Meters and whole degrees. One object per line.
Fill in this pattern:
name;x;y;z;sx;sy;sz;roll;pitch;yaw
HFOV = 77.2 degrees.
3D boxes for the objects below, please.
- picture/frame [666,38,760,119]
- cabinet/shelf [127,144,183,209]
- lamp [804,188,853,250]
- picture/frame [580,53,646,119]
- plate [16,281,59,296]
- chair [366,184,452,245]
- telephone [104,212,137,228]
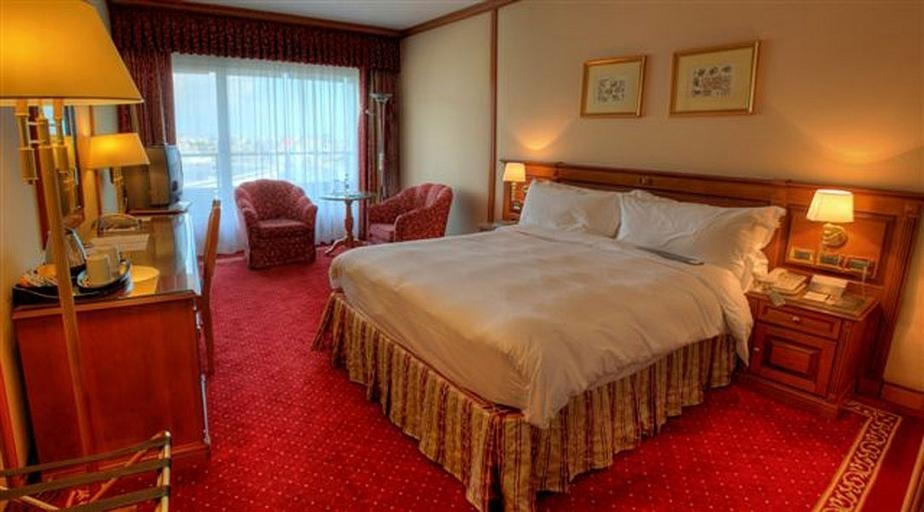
picture/frame;2.672;-1.869;6.048;0.988;0.737;0.107;6;6;41
cabinet/shelf;-3.671;-0.938;6.904;0.449;0.625;0.784;-2;9;-12
lamp;3.453;-0.367;5.410;0.404;0.544;0.396;-10;22;-2
picture/frame;1.795;-1.987;6.720;0.855;0.671;0.097;11;9;43
plate;-3.234;0.243;4.423;0.218;0.072;0.154;-4;2;-6
chair;-0.716;-0.575;8.520;1.053;0.999;1.165;-5;13;-33
telephone;-3.463;-0.356;5.905;0.282;0.085;0.190;1;10;-6
